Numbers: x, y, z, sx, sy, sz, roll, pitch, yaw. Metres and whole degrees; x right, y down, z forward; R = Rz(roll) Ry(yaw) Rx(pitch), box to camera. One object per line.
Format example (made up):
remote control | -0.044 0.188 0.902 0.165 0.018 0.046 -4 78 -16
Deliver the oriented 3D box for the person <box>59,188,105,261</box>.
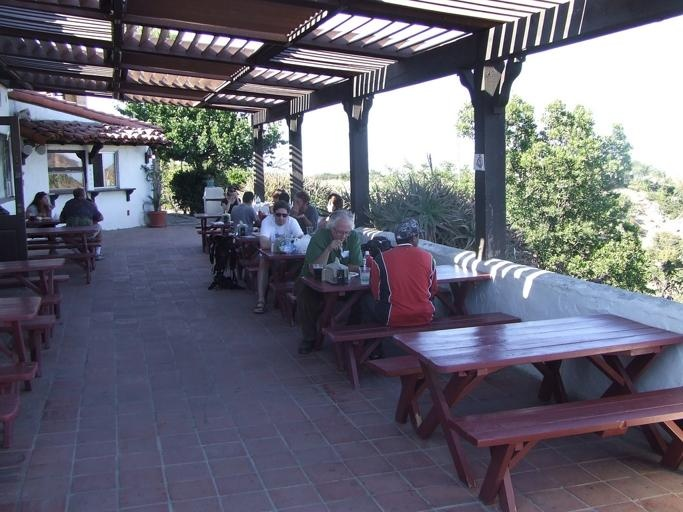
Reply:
person | -5.304 -0.884 10.466 0.813 1.641 0.877 2 15 -6

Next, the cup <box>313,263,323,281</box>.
cup | -0.262 0.164 5.565 0.138 0.188 0.159 -2 7 -21

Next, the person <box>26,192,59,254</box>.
person | -6.253 -0.746 10.774 0.679 1.314 0.512 17 24 20

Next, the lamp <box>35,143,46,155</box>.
lamp | -8.901 -3.190 15.107 0.229 0.312 0.479 -9 13 -16

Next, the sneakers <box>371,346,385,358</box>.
sneakers | 0.363 0.984 5.229 0.153 0.077 0.226 -2 9 -4

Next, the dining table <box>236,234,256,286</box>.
dining table | -1.629 0.037 8.764 0.420 0.421 0.806 -2 9 -13

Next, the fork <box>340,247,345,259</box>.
fork | 0.012 -0.031 5.857 0.086 0.087 0.021 -5 5 -39

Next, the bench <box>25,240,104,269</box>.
bench | -5.260 -0.099 9.873 1.403 0.369 1.305 0 15 -16

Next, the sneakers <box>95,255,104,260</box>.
sneakers | -5.490 0.017 11.588 0.097 0.128 0.289 0 -5 -23

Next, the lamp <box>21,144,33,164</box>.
lamp | -8.733 -2.888 14.245 0.308 0.566 1.688 -12 14 -28

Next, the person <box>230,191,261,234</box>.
person | -1.793 -0.828 9.667 0.486 0.910 0.466 17 34 5

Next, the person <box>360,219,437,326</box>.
person | 0.571 0.064 4.762 0.584 1.010 0.586 -2 29 2

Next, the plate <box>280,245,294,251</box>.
plate | -0.739 -0.110 7.034 0.135 0.098 0.075 -1 8 -23

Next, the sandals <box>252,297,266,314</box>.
sandals | -1.153 0.696 7.178 0.179 0.178 0.206 -8 13 -10

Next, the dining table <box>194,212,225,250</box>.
dining table | -3.136 -0.621 12.180 0.628 0.608 1.179 -2 10 -16

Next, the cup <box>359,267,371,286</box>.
cup | 0.228 0.215 5.347 0.133 0.224 0.140 -1 -1 0

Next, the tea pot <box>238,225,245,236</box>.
tea pot | -1.699 -0.461 8.727 0.132 0.161 0.359 -8 13 -12

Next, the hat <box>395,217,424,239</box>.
hat | 0.625 -0.274 4.584 0.144 0.115 0.206 6 22 35

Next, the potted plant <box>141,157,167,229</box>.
potted plant | -6.989 -2.431 18.915 0.777 2.557 1.934 -9 13 -19
